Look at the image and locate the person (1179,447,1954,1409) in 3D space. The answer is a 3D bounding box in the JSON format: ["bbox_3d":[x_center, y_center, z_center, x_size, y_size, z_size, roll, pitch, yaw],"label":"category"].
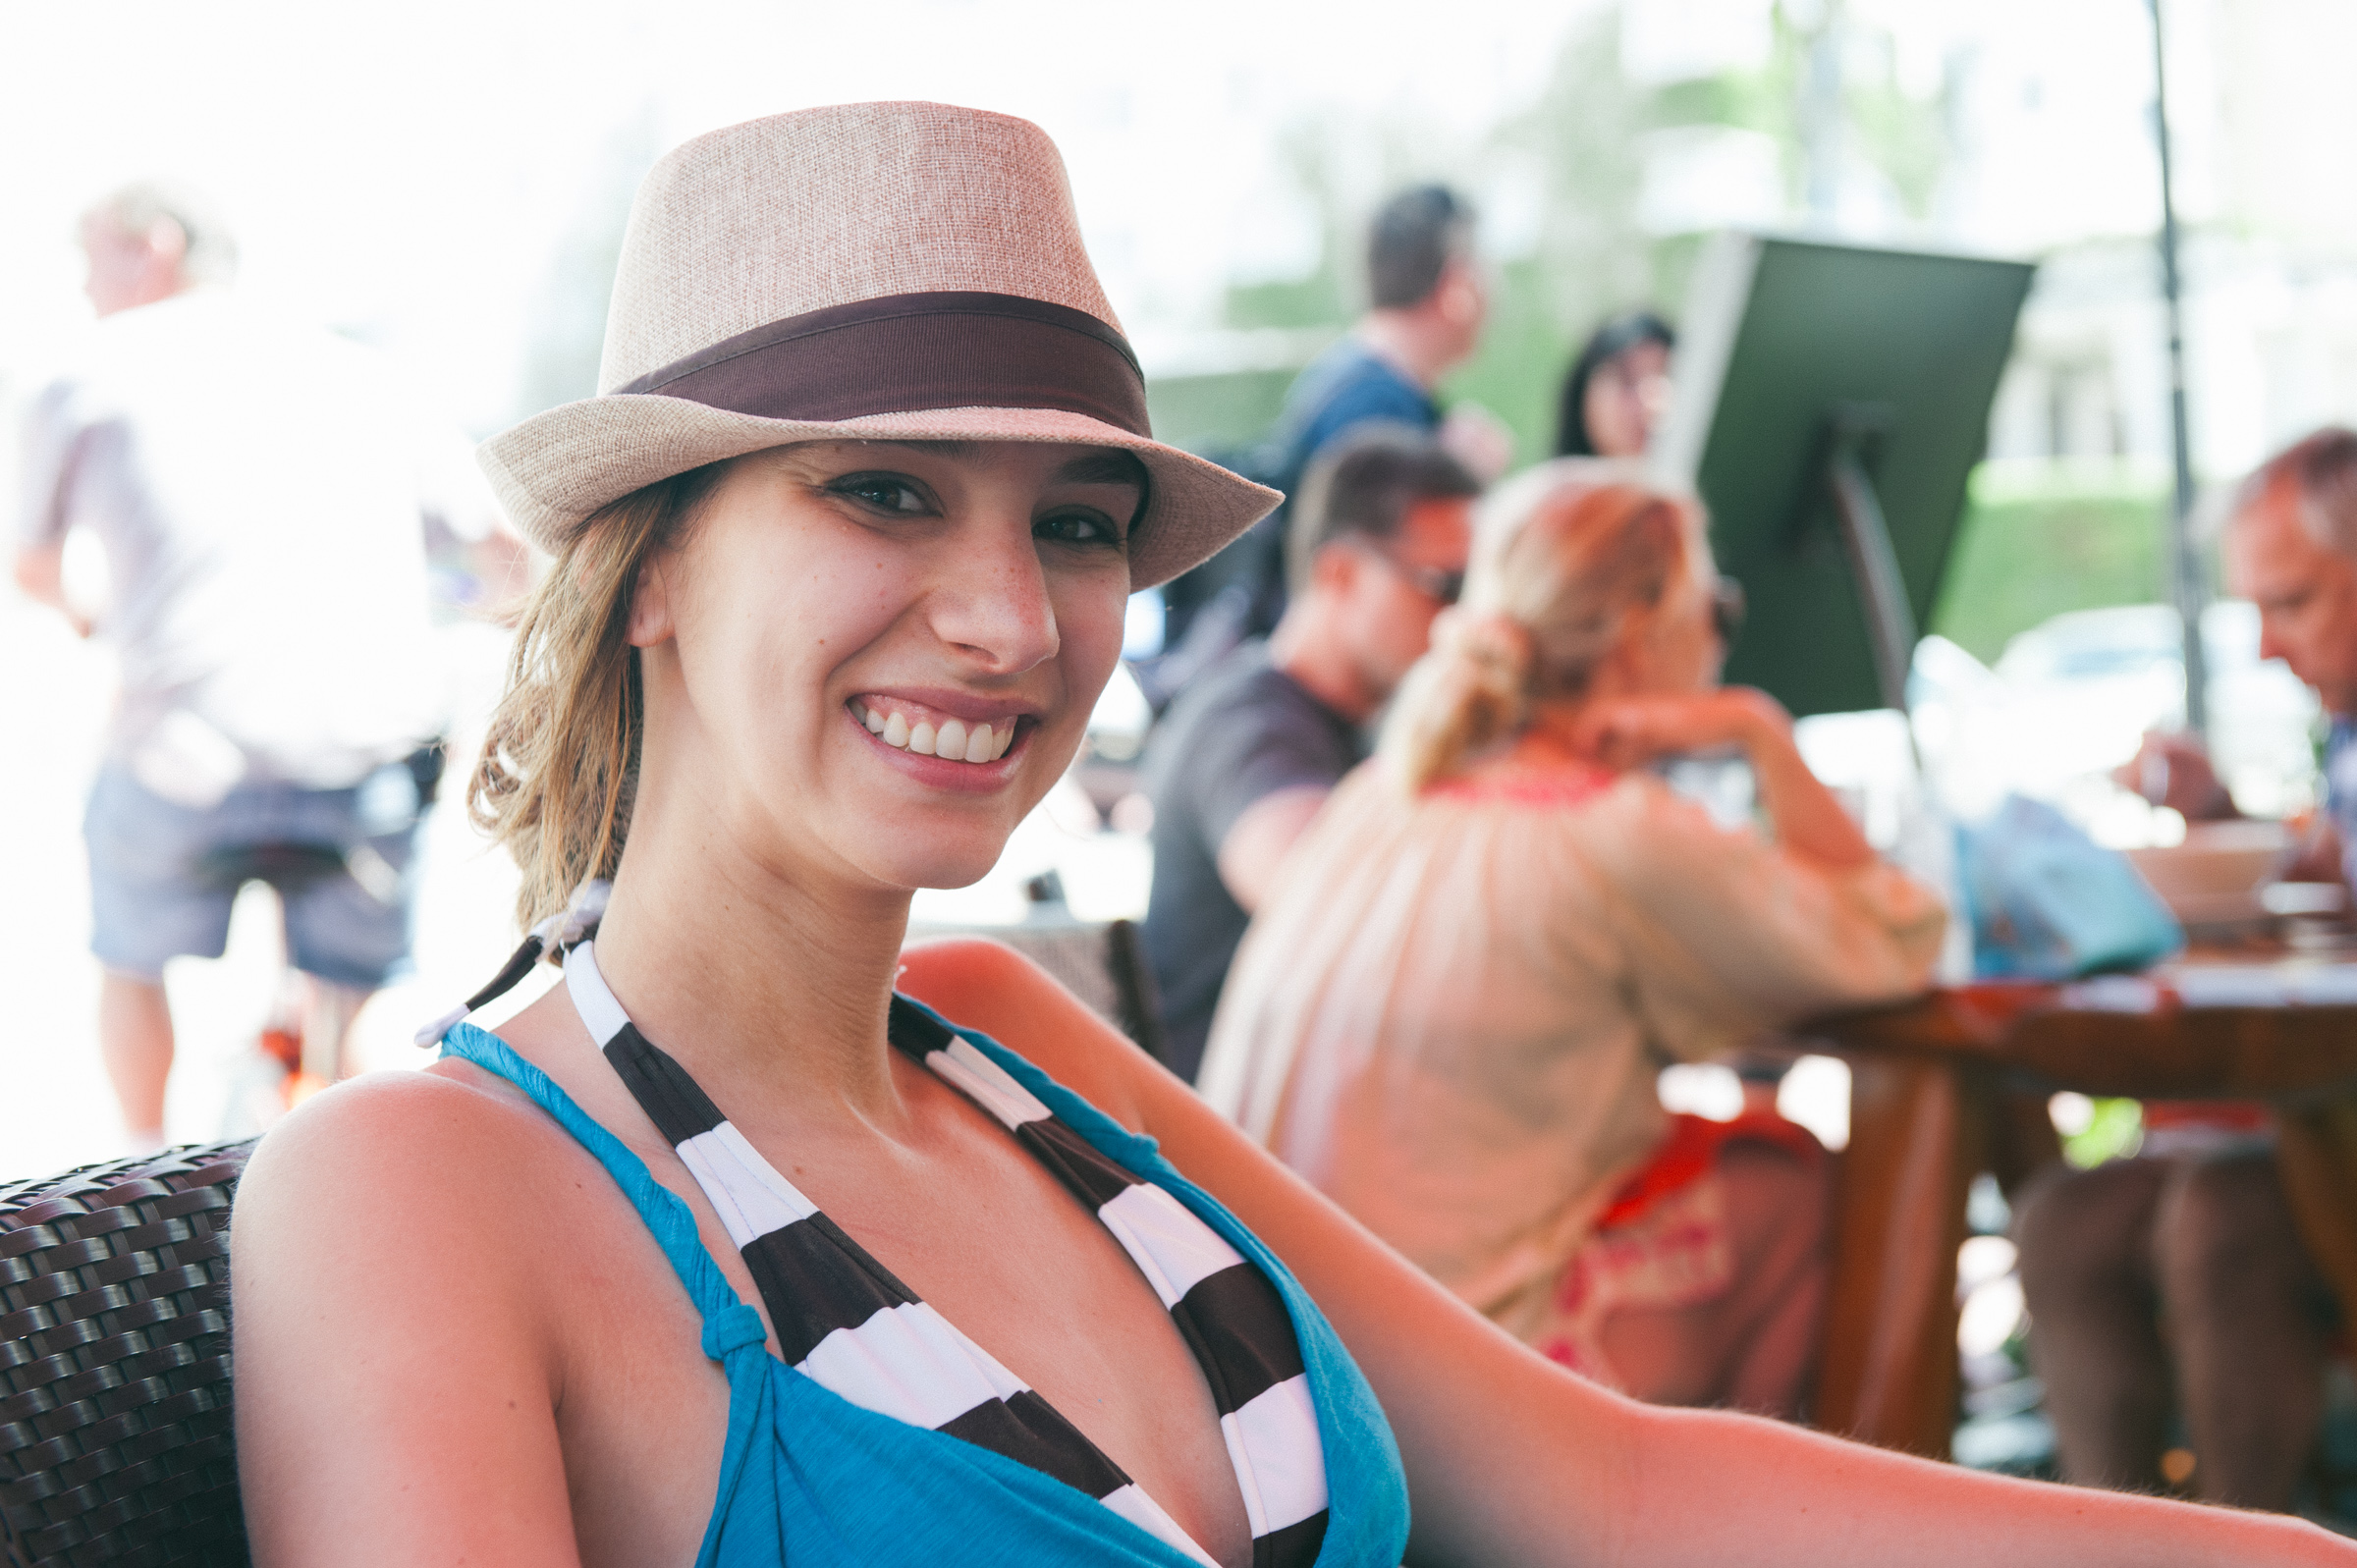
[{"bbox_3d":[0.681,0.548,4.783,1.076,2.083,0.870,-4,16,-6],"label":"person"}]
